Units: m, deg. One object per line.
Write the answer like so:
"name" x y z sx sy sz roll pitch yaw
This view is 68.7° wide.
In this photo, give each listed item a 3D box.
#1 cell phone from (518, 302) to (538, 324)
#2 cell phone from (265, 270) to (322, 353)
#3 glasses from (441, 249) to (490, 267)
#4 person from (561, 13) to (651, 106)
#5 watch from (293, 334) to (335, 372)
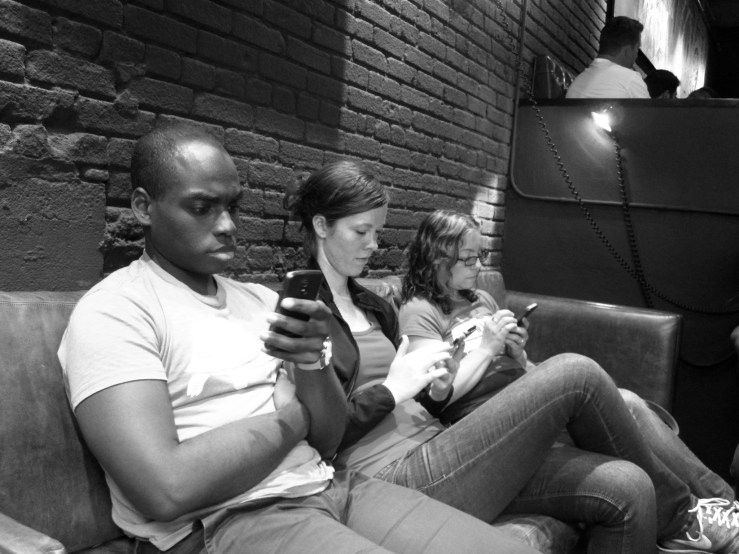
"cell phone" 0.686 0.154 2.317 0.032 0.119 0.034 27 12 -35
"cell phone" -0.139 0.036 1.059 0.092 0.104 0.046 -2 11 -25
"glasses" 0.344 -0.073 1.974 0.098 0.029 0.099 8 12 36
"person" 1.591 -1.439 3.542 0.480 0.684 0.946 7 10 25
"watch" -0.125 0.163 1.197 0.083 0.091 0.058 -1 14 -5
